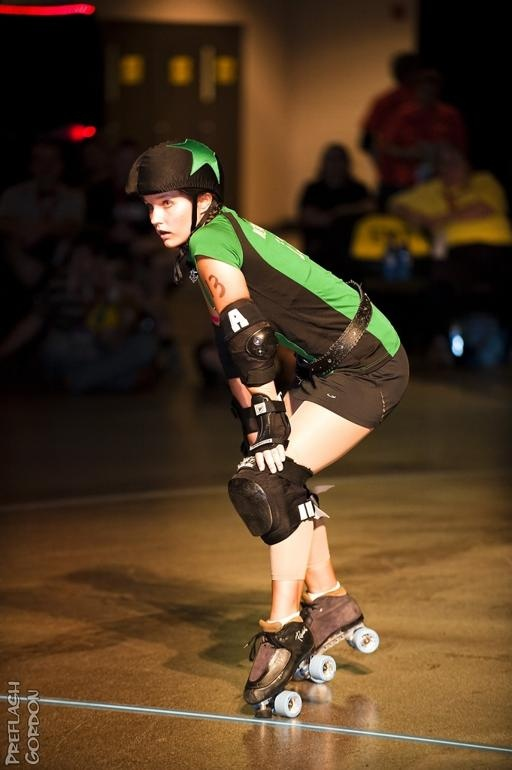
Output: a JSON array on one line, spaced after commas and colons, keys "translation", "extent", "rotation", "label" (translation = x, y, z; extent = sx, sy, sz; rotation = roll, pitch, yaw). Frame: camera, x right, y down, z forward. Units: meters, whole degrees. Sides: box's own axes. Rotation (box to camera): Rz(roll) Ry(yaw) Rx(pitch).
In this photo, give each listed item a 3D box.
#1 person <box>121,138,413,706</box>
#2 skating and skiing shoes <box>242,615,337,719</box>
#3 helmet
[{"translation": [-0.045, 0.172, 1.995], "extent": [0.702, 1.565, 0.836], "rotation": [10, 27, 23], "label": "person"}, {"translation": [0.061, 0.656, 1.855], "extent": [0.111, 0.133, 0.328], "rotation": [-6, 22, 40], "label": "skating and skiing shoes"}, {"translation": [-0.183, -0.550, 1.887], "extent": [0.287, 0.135, 0.189], "rotation": [-11, 25, -23], "label": "helmet"}]
